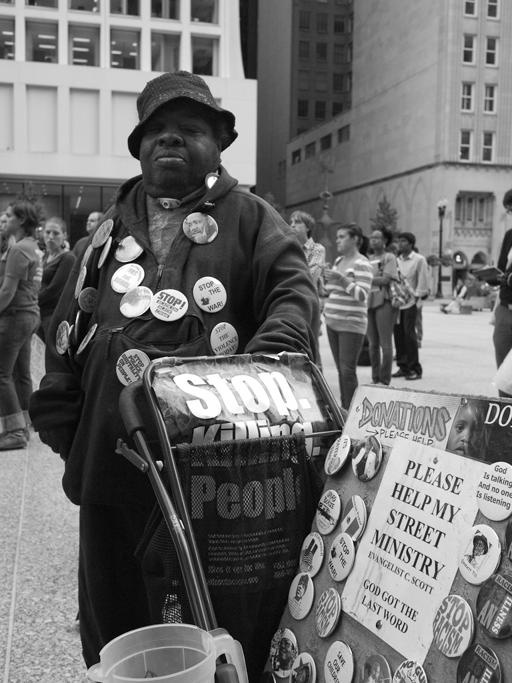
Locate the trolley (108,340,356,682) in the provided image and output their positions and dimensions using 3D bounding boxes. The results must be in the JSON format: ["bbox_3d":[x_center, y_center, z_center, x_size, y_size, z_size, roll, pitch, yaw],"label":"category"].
[{"bbox_3d":[0.004,0.327,1.374,0.435,0.582,0.442,-3,7,-22],"label":"trolley"}]

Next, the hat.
[{"bbox_3d":[-0.240,-0.710,2.275,0.246,0.161,0.315,-4,-23,-5],"label":"hat"}]
